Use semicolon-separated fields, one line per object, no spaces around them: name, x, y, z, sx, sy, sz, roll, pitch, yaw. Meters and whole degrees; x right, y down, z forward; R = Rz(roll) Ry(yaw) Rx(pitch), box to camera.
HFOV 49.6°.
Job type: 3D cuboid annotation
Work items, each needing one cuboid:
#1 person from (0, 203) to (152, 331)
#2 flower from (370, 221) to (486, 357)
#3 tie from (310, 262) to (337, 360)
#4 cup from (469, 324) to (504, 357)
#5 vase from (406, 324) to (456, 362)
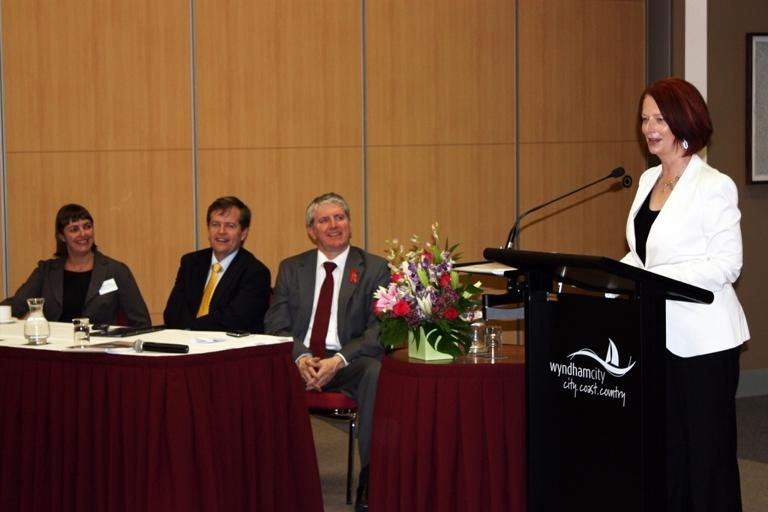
person;-2.418;0.073;6.390;0.597;1.116;0.403;-5;-22;-7
flower;0.296;0.103;5.138;0.659;1.110;0.719;-3;4;-38
tie;-0.419;0.351;5.819;0.109;0.735;0.090;7;-18;2
cup;0.613;0.508;4.935;0.159;0.231;0.182;1;-8;-1
vase;0.276;0.480;4.838;0.186;0.230;0.194;1;1;-28
